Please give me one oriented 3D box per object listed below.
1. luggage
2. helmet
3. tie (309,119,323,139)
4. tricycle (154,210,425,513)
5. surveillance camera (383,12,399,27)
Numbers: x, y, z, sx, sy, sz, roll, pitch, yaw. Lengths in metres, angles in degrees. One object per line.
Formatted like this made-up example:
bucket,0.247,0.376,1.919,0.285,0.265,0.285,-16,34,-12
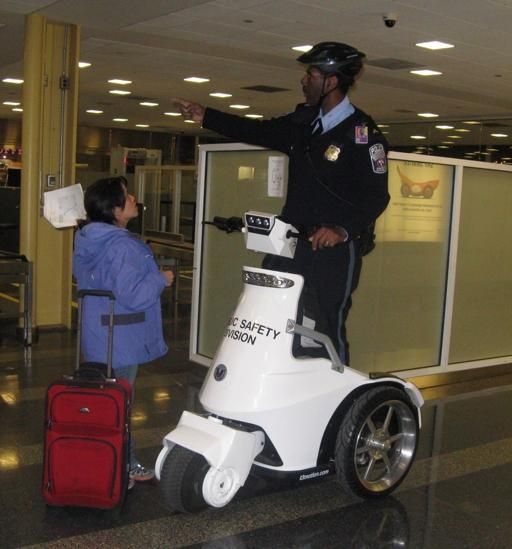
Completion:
luggage,-0.647,0.485,2.104,0.337,0.847,0.363,3,3,-4
helmet,0.295,-0.804,2.057,0.237,0.101,0.153,14,23,-10
tie,0.244,-0.586,2.143,0.019,0.063,0.053,6,-7,-35
tricycle,0.170,0.360,2.126,1.050,1.177,0.443,1,4,-38
surveillance camera,1.458,-2.746,5.786,0.144,0.104,0.135,-5,-4,44
